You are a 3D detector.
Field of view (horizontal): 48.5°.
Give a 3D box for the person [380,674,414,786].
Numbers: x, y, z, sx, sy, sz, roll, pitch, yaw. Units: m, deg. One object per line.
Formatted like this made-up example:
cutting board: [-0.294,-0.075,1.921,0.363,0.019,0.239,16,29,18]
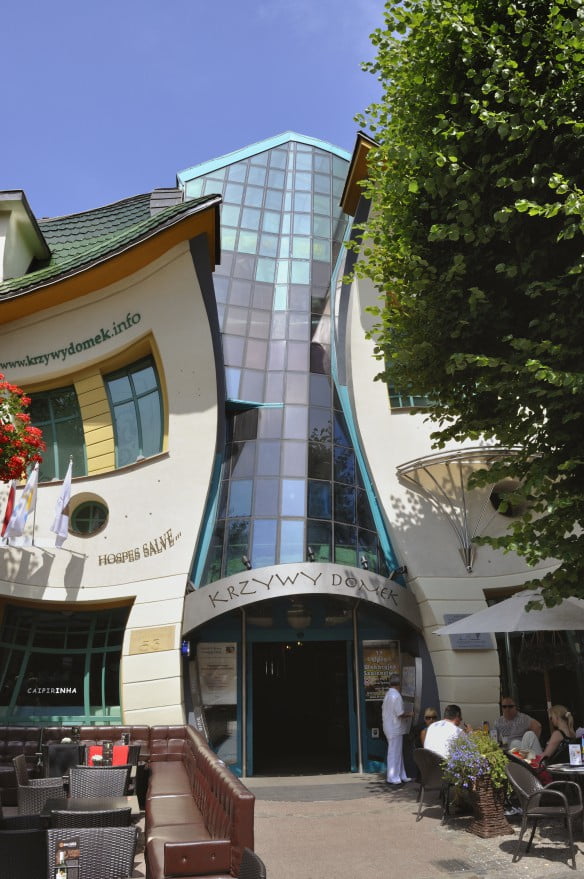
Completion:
person: [1.982,5.520,12.439,0.524,1.857,0.943,-7,-20,7]
